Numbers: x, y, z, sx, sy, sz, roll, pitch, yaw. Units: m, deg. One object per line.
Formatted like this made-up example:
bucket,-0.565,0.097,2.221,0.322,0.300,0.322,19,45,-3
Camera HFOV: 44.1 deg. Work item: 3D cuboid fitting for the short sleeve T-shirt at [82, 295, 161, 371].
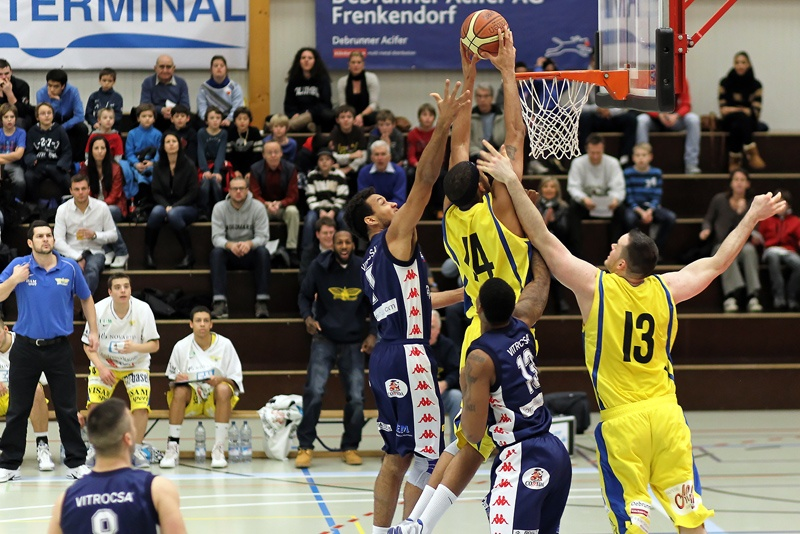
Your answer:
short sleeve T-shirt,-3.514,0.906,12.450,0.887,1.001,0.548,0,17,-16

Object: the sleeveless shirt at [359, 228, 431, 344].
sleeveless shirt,-0.025,0.191,10.069,0.662,1.305,0.703,-9,-5,4

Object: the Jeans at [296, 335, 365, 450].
Jeans,-0.878,1.594,12.609,0.781,2.052,0.477,3,-43,-3

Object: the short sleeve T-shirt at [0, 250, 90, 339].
short sleeve T-shirt,-4.292,0.350,12.066,1.017,1.060,0.425,2,-10,-23

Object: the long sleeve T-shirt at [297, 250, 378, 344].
long sleeve T-shirt,-0.763,0.363,12.899,0.991,1.184,0.719,3,21,-7

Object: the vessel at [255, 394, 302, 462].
vessel,-1.503,2.007,12.572,0.259,0.794,0.563,11,1,37

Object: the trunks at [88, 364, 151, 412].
trunks,-3.311,1.416,11.673,0.595,0.625,0.364,4,-31,-2

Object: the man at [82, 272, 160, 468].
man,-3.507,1.291,12.385,0.853,2.518,1.172,2,2,-3

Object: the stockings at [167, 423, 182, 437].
stockings,-2.818,2.040,12.364,0.136,0.149,0.134,8,-14,-30

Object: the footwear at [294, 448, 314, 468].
footwear,-1.202,2.374,12.355,0.208,0.214,0.275,0,3,-7

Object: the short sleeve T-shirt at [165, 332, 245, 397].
short sleeve T-shirt,-2.499,1.267,12.666,0.936,0.857,0.453,2,0,0

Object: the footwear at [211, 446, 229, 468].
footwear,-2.234,2.351,12.260,0.196,0.249,0.181,-1,3,-14

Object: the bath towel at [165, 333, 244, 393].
bath towel,-2.474,1.262,12.678,0.917,0.874,0.476,0,4,9

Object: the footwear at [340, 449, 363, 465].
footwear,-0.594,2.391,12.429,0.115,0.139,0.275,0,-1,-34
